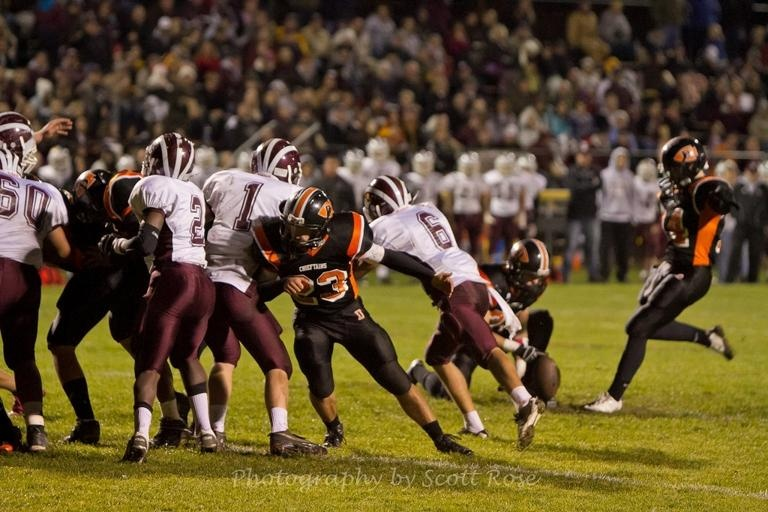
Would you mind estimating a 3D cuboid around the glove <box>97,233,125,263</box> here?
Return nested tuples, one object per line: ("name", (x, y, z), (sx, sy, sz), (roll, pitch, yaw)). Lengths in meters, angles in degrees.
("glove", (-2.198, -0.049, 7.973), (0.204, 0.145, 0.190), (15, -11, -8))

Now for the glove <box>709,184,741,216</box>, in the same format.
("glove", (3.059, -0.494, 8.784), (0.292, 0.274, 0.153), (-7, 13, -42))

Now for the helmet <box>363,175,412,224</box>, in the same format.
("helmet", (0.045, -0.531, 8.918), (0.454, 0.430, 0.366), (15, 22, 41))

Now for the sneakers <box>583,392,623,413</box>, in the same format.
("sneakers", (2.017, 1.357, 9.042), (0.329, 0.154, 0.171), (1, -2, -6))

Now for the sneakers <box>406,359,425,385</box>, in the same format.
("sneakers", (0.327, 1.169, 9.894), (0.113, 0.312, 0.140), (5, 1, 6))
